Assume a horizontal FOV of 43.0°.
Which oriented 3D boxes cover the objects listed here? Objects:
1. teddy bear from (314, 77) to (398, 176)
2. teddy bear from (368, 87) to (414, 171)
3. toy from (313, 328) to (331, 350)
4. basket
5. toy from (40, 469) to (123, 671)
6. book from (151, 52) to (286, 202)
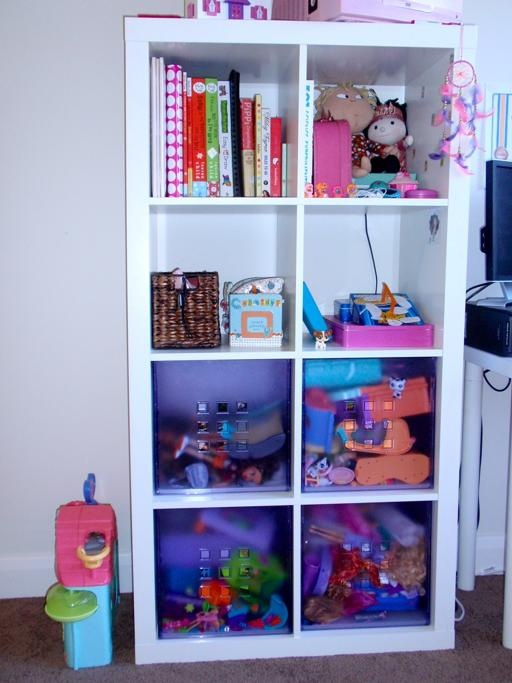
[{"bbox_3d":[0.279,-0.590,1.849,0.258,0.253,0.139,-1,4,4],"label":"teddy bear"},{"bbox_3d":[0.373,-0.577,1.844,0.130,0.195,0.112,-4,16,4],"label":"teddy bear"},{"bbox_3d":[0.177,-0.010,1.672,0.064,0.062,0.043,0,4,-22],"label":"toy"},{"bbox_3d":[-0.182,-0.087,1.625,0.182,0.186,0.051,0,8,-10],"label":"basket"},{"bbox_3d":[-0.470,0.617,1.718,0.180,0.420,0.384,0,12,-8],"label":"toy"},{"bbox_3d":[-0.101,-0.484,1.720,0.441,0.422,0.315,-1,7,-7],"label":"book"}]
